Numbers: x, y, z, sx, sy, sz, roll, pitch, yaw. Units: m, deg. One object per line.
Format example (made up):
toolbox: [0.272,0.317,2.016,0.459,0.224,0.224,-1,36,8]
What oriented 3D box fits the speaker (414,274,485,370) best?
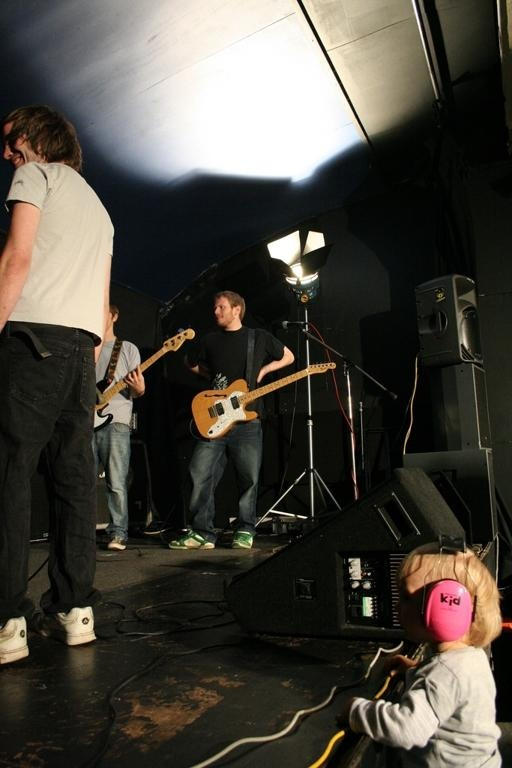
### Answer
speaker: [1.128,-0.357,3.672,0.379,0.533,0.349,1,-8,2]

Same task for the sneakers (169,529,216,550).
sneakers: [-0.416,1.042,4.253,0.337,0.145,0.122,6,-19,-2]

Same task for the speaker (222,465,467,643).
speaker: [0.224,0.390,1.783,0.487,0.354,0.540,-3,-11,19]

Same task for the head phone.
head phone: [0.316,0.343,1.076,0.093,0.155,0.055,6,-15,-8]

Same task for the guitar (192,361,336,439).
guitar: [-0.009,0.143,4.532,0.825,0.543,0.318,5,-9,-24]

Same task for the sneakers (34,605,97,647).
sneakers: [-0.530,0.667,1.809,0.219,0.095,0.079,0,-4,44]

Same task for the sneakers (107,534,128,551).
sneakers: [-0.921,1.061,4.195,0.065,0.063,0.164,-2,-19,2]

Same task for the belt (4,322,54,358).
belt: [-0.608,-0.120,1.699,0.079,0.110,0.028,-29,3,14]
